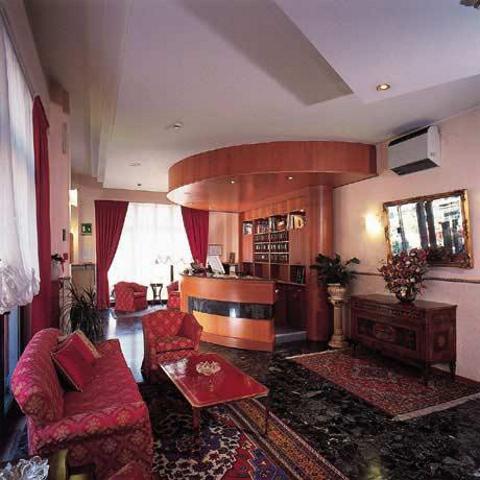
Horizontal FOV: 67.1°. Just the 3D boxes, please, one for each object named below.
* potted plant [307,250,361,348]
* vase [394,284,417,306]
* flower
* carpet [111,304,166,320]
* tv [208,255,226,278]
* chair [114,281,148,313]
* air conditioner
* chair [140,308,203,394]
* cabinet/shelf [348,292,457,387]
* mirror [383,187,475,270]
[{"bbox_3d":[1.746,1.041,6.460,0.818,1.608,0.799,-1,-1,37],"label":"potted plant"},{"bbox_3d":[2.235,0.735,4.906,0.197,0.182,0.242,0,-8,-4],"label":"vase"},{"bbox_3d":[2.280,0.501,5.126,0.604,0.761,0.586,-2,-4,-22],"label":"flower"},{"bbox_3d":[-2.437,1.671,8.403,0.776,0.042,0.856,1,-2,-35],"label":"carpet"},{"bbox_3d":[-0.449,0.536,7.182,0.090,0.382,0.352,-16,27,-21],"label":"tv"},{"bbox_3d":[-3.009,1.563,10.029,0.630,0.798,0.832,-3,-5,24],"label":"chair"},{"bbox_3d":[2.465,-1.153,5.197,0.446,0.828,0.831,7,-7,-29],"label":"air conditioner"},{"bbox_3d":[-0.922,1.417,4.812,0.773,1.007,0.792,4,-13,-24],"label":"chair"},{"bbox_3d":[2.176,1.263,5.051,0.484,0.900,1.416,0,-1,-21],"label":"cabinet/shelf"},{"bbox_3d":[2.595,-0.152,4.900,0.050,0.866,1.102,-1,-2,-20],"label":"mirror"}]
